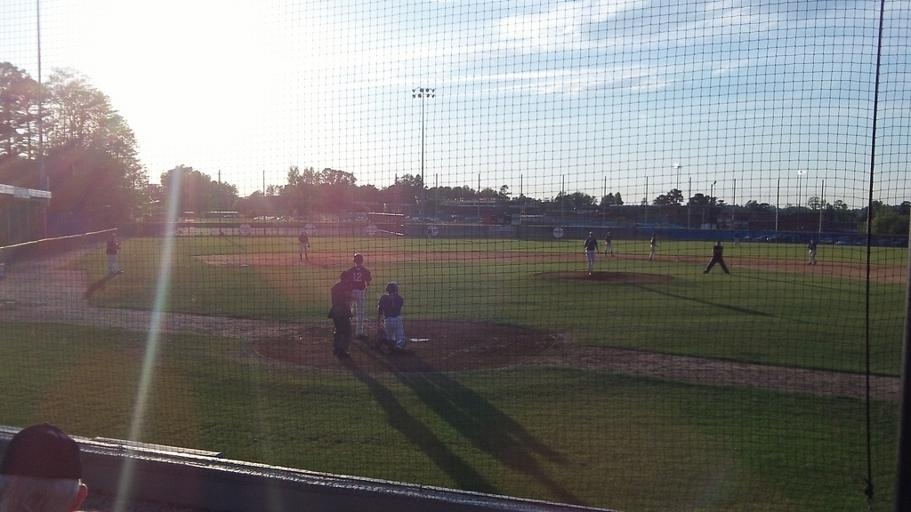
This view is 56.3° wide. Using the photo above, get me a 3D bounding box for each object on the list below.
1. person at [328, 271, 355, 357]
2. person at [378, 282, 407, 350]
[{"bbox_3d":[-2.947,1.543,21.761,0.542,2.006,1.014,-1,11,-8],"label":"person"},{"bbox_3d":[-1.647,1.550,22.367,0.701,1.690,0.893,0,11,-4],"label":"person"}]
